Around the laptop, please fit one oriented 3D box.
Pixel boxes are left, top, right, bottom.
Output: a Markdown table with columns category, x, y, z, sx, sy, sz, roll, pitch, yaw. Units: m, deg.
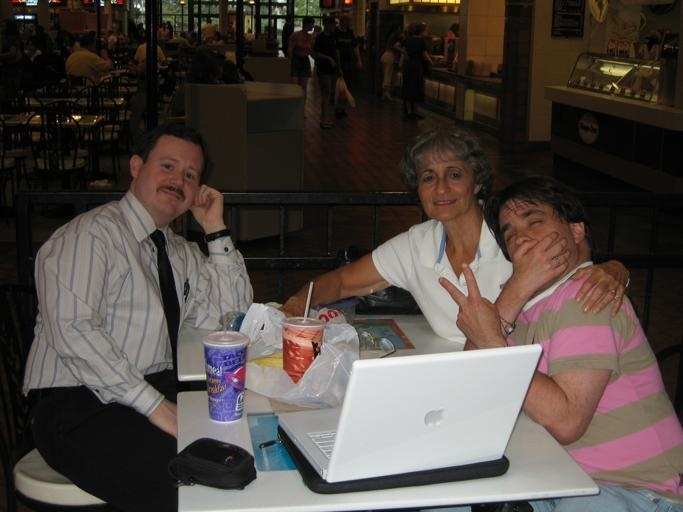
| category | x | y | z | sx | sy | sz | roll | pitch | yaw |
| --- | --- | --- | --- | --- | --- | --- | --- | --- | --- |
| laptop | 0.164 | 0.275 | 1.171 | 0.372 | 0.247 | 0.348 | -2 | 13 | -19 |

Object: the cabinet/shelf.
| category | x | y | z | sx | sy | sz | roll | pitch | yaw |
| --- | --- | --- | --- | --- | --- | --- | --- | --- | --- |
| cabinet/shelf | 4.264 | -2.726 | 8.104 | 0.485 | 0.526 | 1.727 | -9 | 28 | -16 |

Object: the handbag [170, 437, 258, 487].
| category | x | y | z | sx | sy | sz | roll | pitch | yaw |
| --- | --- | --- | --- | --- | --- | --- | --- | --- | --- |
| handbag | -0.289 | 0.471 | 1.207 | 0.126 | 0.049 | 0.114 | 7 | 14 | 15 |

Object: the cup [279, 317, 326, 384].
| category | x | y | z | sx | sy | sz | roll | pitch | yaw |
| --- | --- | --- | --- | --- | --- | --- | --- | --- | --- |
| cup | -0.123 | 0.289 | 1.602 | 0.127 | 0.179 | 0.119 | 2 | -5 | 0 |

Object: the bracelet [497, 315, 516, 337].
| category | x | y | z | sx | sy | sz | roll | pitch | yaw |
| --- | --- | --- | --- | --- | --- | --- | --- | --- | --- |
| bracelet | 0.495 | 0.212 | 1.591 | 0.035 | 0.043 | 0.106 | -2 | -18 | 1 |
